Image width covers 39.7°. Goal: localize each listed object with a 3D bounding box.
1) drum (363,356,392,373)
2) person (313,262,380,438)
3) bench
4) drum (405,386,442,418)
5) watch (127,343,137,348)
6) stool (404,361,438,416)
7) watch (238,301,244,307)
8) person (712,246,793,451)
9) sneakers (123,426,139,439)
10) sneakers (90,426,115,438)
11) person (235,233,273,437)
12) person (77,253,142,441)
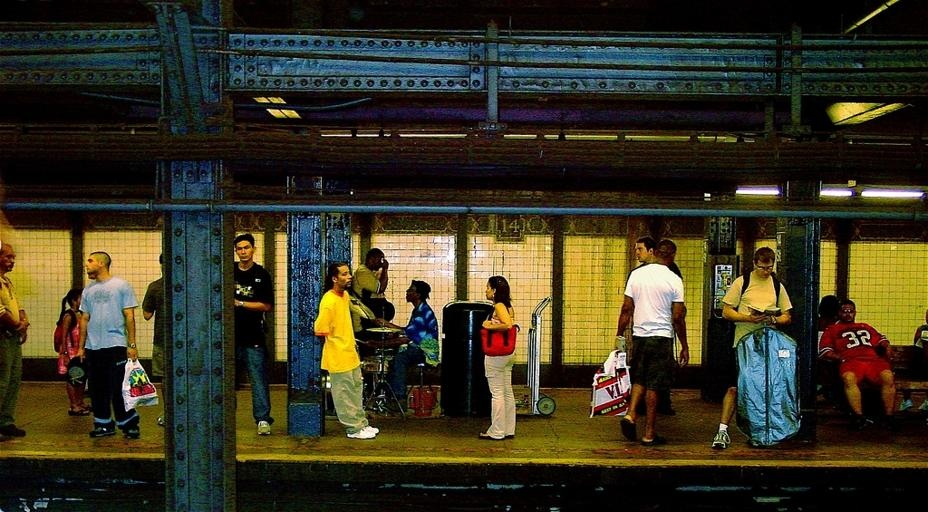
[{"bbox_3d":[-1.623,1.899,22.720,0.474,0.194,0.356,1,-3,16],"label":"drum"},{"bbox_3d":[-2.091,1.578,21.509,1.058,2.949,0.386,1,-3,-39],"label":"person"},{"bbox_3d":[6.902,2.024,22.347,1.137,1.697,0.793,-7,-48,17],"label":"bench"},{"bbox_3d":[-0.745,2.545,22.815,0.569,0.558,0.512,-1,-2,-3],"label":"drum"},{"bbox_3d":[-5.610,1.492,21.516,0.099,0.047,0.100,7,-8,-37],"label":"watch"},{"bbox_3d":[-0.678,2.418,22.913,0.742,0.683,0.580,-5,-5,5],"label":"stool"},{"bbox_3d":[-3.816,0.796,21.725,0.129,0.057,0.101,-1,1,-14],"label":"watch"},{"bbox_3d":[4.886,1.492,21.114,1.102,3.252,0.365,-2,-3,10],"label":"person"},{"bbox_3d":[-5.646,2.948,21.627,0.277,0.205,0.211,0,-2,-10],"label":"sneakers"},{"bbox_3d":[-6.127,2.939,21.644,0.484,0.142,0.150,4,-5,-16],"label":"sneakers"},{"bbox_3d":[-3.617,1.308,21.915,0.623,3.387,0.601,-1,-3,-9],"label":"person"},{"bbox_3d":[-6.030,1.488,21.612,1.025,3.109,0.371,-1,-3,4],"label":"person"}]
